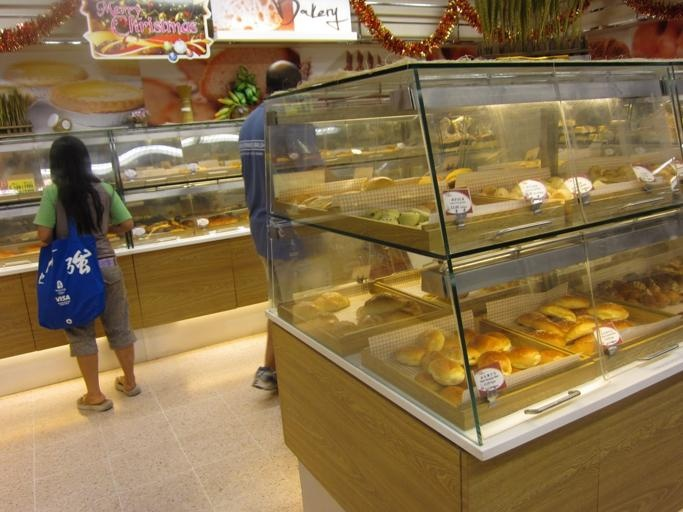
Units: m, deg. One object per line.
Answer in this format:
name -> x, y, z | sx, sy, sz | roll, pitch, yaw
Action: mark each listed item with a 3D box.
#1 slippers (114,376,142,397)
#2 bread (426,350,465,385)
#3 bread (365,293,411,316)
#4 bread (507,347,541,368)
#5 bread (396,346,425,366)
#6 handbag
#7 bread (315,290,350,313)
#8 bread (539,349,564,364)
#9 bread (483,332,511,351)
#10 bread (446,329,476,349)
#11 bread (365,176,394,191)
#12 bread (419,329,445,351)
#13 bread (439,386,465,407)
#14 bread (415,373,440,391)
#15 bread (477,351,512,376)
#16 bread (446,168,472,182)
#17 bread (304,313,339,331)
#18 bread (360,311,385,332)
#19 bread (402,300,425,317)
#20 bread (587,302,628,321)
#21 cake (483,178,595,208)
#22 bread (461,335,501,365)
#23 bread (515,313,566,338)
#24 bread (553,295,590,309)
slippers -> -1.672, 0.986, 3.824 | 0.117, 0.062, 0.217 | -9, 21, -39
bread -> 0.349, 0.380, 1.640 | 0.144, 0.063, 0.116 | 4, 8, -9
bread -> 0.161, 0.186, 1.862 | 0.123, 0.034, 0.077 | 0, 11, 35
bread -> 0.625, 0.344, 1.666 | 0.076, 0.039, 0.079 | 0, 10, 37
bread -> 0.244, 0.348, 1.740 | 0.043, 0.067, 0.117 | -22, 22, -37
handbag -> -1.884, 0.133, 3.355 | 0.447, 0.682, 0.225 | -8, 18, 0
bread -> -0.041, 0.190, 2.070 | 0.082, 0.041, 0.131 | -13, 13, -39
bread -> 0.723, 0.339, 1.683 | 0.055, 0.023, 0.050 | -1, 2, 16
bread -> 0.530, 0.290, 1.665 | 0.082, 0.037, 0.076 | 0, 3, 11
bread -> 0.391, 0.263, 1.583 | 0.071, 0.021, 0.067 | -2, 23, 22
bread -> 0.138, -0.271, 1.841 | 0.062, 0.046, 0.154 | -17, 19, -29
bread -> 0.312, 0.283, 1.671 | 0.040, 0.073, 0.114 | -15, 18, -19
bread -> 0.359, 0.439, 1.577 | 0.037, 0.055, 0.087 | -19, 20, -31
bread -> 0.297, 0.421, 1.656 | 0.056, 0.014, 0.059 | -6, 24, -43
bread -> 0.491, 0.339, 1.594 | 0.094, 0.046, 0.097 | 12, 17, 43
bread -> 0.394, -0.266, 1.656 | 0.064, 0.018, 0.066 | -15, 10, -8
bread -> -0.081, 0.282, 2.107 | 0.109, 0.029, 0.105 | -13, 2, 42
bread -> 0.103, 0.250, 1.875 | 0.072, 0.056, 0.019 | 11, 1, 27
bread -> 0.255, 0.191, 1.763 | 0.045, 0.020, 0.067 | -16, 12, -20
bread -> 1.009, 0.207, 1.848 | 0.108, 0.033, 0.103 | -5, 6, -12
cake -> 0.744, -0.231, 1.774 | 0.267, 0.066, 0.182 | -9, 13, -25
bread -> 0.450, 0.294, 1.597 | 0.100, 0.052, 0.095 | 22, 47, 24
bread -> 0.720, 0.244, 1.774 | 0.159, 0.075, 0.066 | -1, 18, 18
bread -> 0.854, 0.170, 1.810 | 0.089, 0.025, 0.059 | 1, 4, -5
